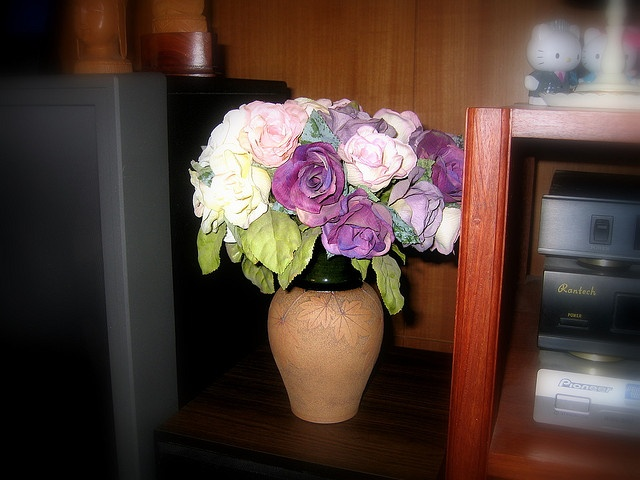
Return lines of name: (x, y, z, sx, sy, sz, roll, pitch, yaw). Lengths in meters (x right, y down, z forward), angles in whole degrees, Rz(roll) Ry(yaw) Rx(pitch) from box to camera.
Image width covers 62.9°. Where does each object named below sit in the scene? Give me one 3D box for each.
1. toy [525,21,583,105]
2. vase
toy: (0.441, -0.330, 0.986, 0.101, 0.144, 0.084, -7, 18, -13)
vase: (0.018, 0.141, 1.195, 0.266, 0.511, 0.295, 0, 11, 0)
